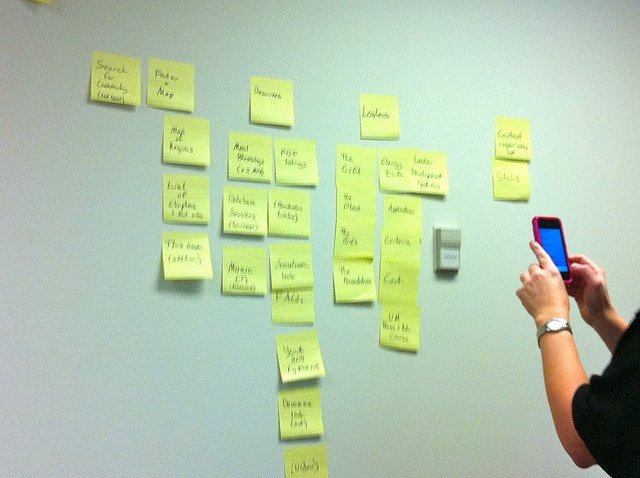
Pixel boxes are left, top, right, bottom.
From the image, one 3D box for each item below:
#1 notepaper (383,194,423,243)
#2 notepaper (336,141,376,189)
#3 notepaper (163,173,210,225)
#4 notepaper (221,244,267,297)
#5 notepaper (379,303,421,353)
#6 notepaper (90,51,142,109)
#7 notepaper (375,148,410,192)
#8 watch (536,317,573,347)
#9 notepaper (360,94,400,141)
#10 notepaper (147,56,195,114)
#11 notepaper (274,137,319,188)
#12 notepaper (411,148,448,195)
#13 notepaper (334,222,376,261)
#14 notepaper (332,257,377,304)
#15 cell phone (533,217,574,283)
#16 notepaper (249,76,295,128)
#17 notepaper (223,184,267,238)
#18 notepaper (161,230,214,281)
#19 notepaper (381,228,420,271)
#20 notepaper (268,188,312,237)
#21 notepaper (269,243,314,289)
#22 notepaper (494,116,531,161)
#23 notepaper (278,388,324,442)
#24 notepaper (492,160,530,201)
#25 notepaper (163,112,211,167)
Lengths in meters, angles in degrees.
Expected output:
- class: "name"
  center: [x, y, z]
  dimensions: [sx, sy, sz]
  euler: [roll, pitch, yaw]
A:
- class: "notepaper"
  center: [0.271, -0.064, 1.770]
  dimensions: [0.129, 0.143, 0.014]
  euler: [4, -7, -17]
- class: "notepaper"
  center: [0.112, -0.238, 1.742]
  dimensions: [0.126, 0.137, 0.019]
  euler: [5, -3, -18]
- class: "notepaper"
  center: [-0.403, -0.122, 1.623]
  dimensions: [0.131, 0.153, 0.032]
  euler: [6, -4, -11]
- class: "notepaper"
  center: [-0.235, 0.112, 1.673]
  dimensions: [0.134, 0.160, 0.137]
  euler: [3, -12, -13]
- class: "notepaper"
  center: [0.256, 0.294, 1.741]
  dimensions: [0.137, 0.160, 0.037]
  euler: [-8, 12, -8]
- class: "notepaper"
  center: [-0.613, -0.471, 1.592]
  dimensions: [0.142, 0.168, 0.021]
  euler: [4, -7, -15]
- class: "notepaper"
  center: [0.238, -0.224, 1.770]
  dimensions: [0.122, 0.170, 0.021]
  euler: [1, -5, -10]
- class: "watch"
  center: [0.595, 0.224, 1.353]
  dimensions: [0.076, 0.061, 0.094]
  euler: [-3, -20, 11]
- class: "notepaper"
  center: [0.196, -0.398, 1.767]
  dimensions: [0.128, 0.148, 0.033]
  euler: [2, 0, -11]
- class: "notepaper"
  center: [-0.461, -0.465, 1.627]
  dimensions: [0.146, 0.169, 0.017]
  euler: [5, -9, -18]
- class: "notepaper"
  center: [-0.069, -0.245, 1.674]
  dimensions: [0.129, 0.154, 0.032]
  euler: [0, -4, -5]
- class: "notepaper"
  center: [0.370, -0.216, 1.792]
  dimensions: [0.132, 0.151, 0.034]
  euler: [-1, -1, -20]
- class: "notepaper"
  center: [0.107, 0.010, 1.725]
  dimensions: [0.100, 0.098, 0.014]
  euler: [4, -5, -12]
- class: "notepaper"
  center: [0.106, 0.138, 1.715]
  dimensions: [0.129, 0.150, 0.019]
  euler: [0, -8, -16]
- class: "cell phone"
  center: [0.676, 0.035, 1.550]
  dimensions: [0.090, 0.188, 0.016]
  euler: [1, -18, -9]
- class: "notepaper"
  center: [-0.157, -0.430, 1.688]
  dimensions: [0.138, 0.158, 0.016]
  euler: [4, -8, -17]
- class: "notepaper"
  center: [-0.236, -0.083, 1.656]
  dimensions: [0.136, 0.159, 0.020]
  euler: [3, -10, -19]
- class: "notepaper"
  center: [-0.399, 0.048, 1.608]
  dimensions: [0.138, 0.150, 0.051]
  euler: [-9, 12, -10]
- class: "notepaper"
  center: [0.267, 0.035, 1.766]
  dimensions: [0.145, 0.143, 0.016]
  euler: [1, -2, -10]
- class: "notepaper"
  center: [-0.092, -0.080, 1.688]
  dimensions: [0.113, 0.157, 0.067]
  euler: [-1, 9, -17]
- class: "notepaper"
  center: [-0.092, 0.082, 1.677]
  dimensions: [0.124, 0.150, 0.037]
  euler: [-1, -4, -10]
- class: "notepaper"
  center: [0.681, -0.344, 1.877]
  dimensions: [0.133, 0.154, 0.034]
  euler: [-3, -2, -19]
- class: "notepaper"
  center: [-0.062, 0.535, 1.646]
  dimensions: [0.137, 0.153, 0.034]
  euler: [-8, -3, -14]
- class: "notepaper"
  center: [0.662, -0.201, 1.866]
  dimensions: [0.124, 0.145, 0.019]
  euler: [1, -4, -16]
- class: "notepaper"
  center: [-0.404, -0.307, 1.635]
  dimensions: [0.137, 0.153, 0.015]
  euler: [1, 35, -15]
